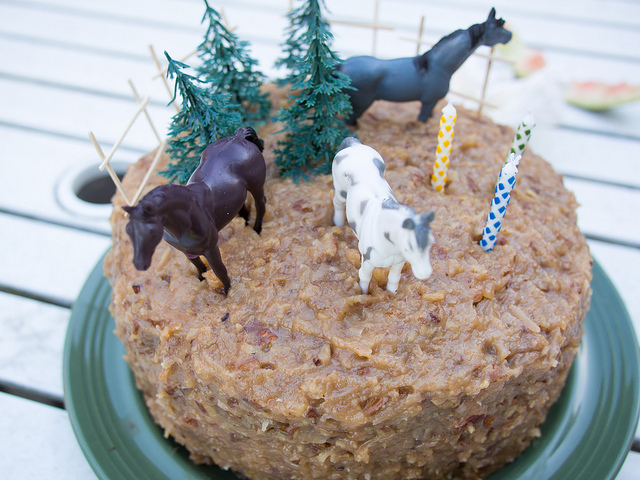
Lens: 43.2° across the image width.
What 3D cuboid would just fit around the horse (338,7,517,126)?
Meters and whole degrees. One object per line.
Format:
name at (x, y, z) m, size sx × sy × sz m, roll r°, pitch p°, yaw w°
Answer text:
horse at (0.491, -0.944, 4.775) m, size 1.066 × 0.703 × 0.254 m, roll -9°, pitch 45°, yaw -11°

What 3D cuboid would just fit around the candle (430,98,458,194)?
candle at (0.596, -0.575, 4.470) m, size 0.100 × 0.110 × 0.527 m, roll -8°, pitch 110°, yaw -24°
